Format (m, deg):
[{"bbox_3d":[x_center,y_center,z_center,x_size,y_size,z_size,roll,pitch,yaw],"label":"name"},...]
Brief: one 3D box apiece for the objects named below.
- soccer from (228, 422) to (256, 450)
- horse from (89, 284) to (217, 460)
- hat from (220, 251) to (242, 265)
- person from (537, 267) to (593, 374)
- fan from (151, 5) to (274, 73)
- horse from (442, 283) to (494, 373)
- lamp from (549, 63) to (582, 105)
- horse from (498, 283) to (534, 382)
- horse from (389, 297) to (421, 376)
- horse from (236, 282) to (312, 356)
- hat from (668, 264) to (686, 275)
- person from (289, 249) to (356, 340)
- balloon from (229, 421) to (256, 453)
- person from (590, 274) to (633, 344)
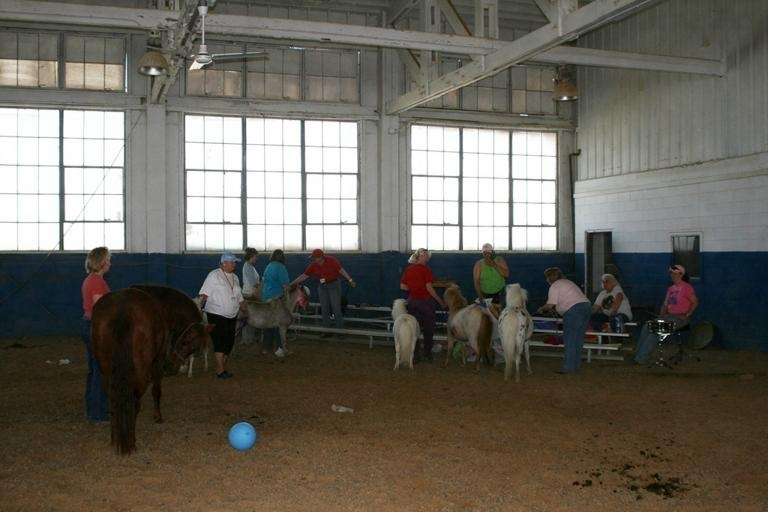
[{"bbox_3d":[-1.967,2.482,9.551,0.345,0.197,0.342,9,19,-36],"label":"soccer"},{"bbox_3d":[-3.583,1.516,10.031,0.714,2.083,1.816,3,14,12],"label":"horse"},{"bbox_3d":[-2.703,0.042,12.025,0.485,0.242,0.345,0,0,-15],"label":"hat"},{"bbox_3d":[3.332,1.231,12.802,0.863,1.964,0.596,4,14,17],"label":"person"},{"bbox_3d":[-3.628,-3.895,12.748,1.593,1.079,1.907,-2,5,-40],"label":"fan"},{"bbox_3d":[1.581,1.443,13.288,0.551,1.597,2.208,0,4,-21],"label":"horse"},{"bbox_3d":[4.685,-4.554,18.085,0.542,0.870,0.921,3,14,13],"label":"lamp"},{"bbox_3d":[2.378,1.422,12.620,0.581,1.678,1.220,3,14,13],"label":"horse"},{"bbox_3d":[0.403,1.619,13.248,0.494,1.223,0.921,0,13,2],"label":"horse"},{"bbox_3d":[-2.412,1.311,13.810,1.991,1.399,0.510,1,-4,-19],"label":"horse"},{"bbox_3d":[6.059,0.283,14.386,0.275,0.156,0.201,11,-5,1],"label":"hat"},{"bbox_3d":[-1.501,0.927,16.086,1.469,2.249,0.928,11,42,29],"label":"person"},{"bbox_3d":[-1.970,2.506,9.549,0.351,0.198,0.347,10,22,-40],"label":"balloon"},{"bbox_3d":[4.591,0.980,14.109,0.672,1.206,1.323,-1,14,-2],"label":"person"}]
